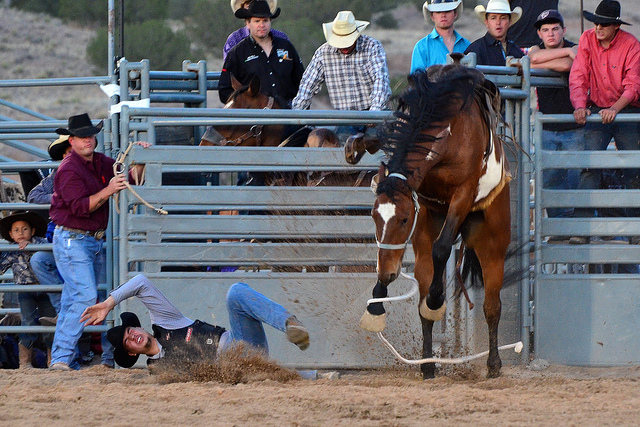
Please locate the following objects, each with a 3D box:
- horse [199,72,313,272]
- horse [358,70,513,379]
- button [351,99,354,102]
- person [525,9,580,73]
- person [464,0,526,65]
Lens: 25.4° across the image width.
[{"bbox_3d":[-0.853,-0.939,21.392,1.492,2.145,1.946,-17,23,-36],"label":"horse"},{"bbox_3d":[1.757,0.249,19.712,2.050,4.120,1.214,-6,18,-7],"label":"horse"},{"bbox_3d":[0.509,-1.731,21.759,0.039,0.037,0.013,-1,18,8],"label":"button"},{"bbox_3d":[3.580,-2.627,21.727,0.662,0.747,1.116,-2,7,9],"label":"person"},{"bbox_3d":[2.754,-2.853,22.019,0.909,0.889,1.170,4,20,22],"label":"person"}]
